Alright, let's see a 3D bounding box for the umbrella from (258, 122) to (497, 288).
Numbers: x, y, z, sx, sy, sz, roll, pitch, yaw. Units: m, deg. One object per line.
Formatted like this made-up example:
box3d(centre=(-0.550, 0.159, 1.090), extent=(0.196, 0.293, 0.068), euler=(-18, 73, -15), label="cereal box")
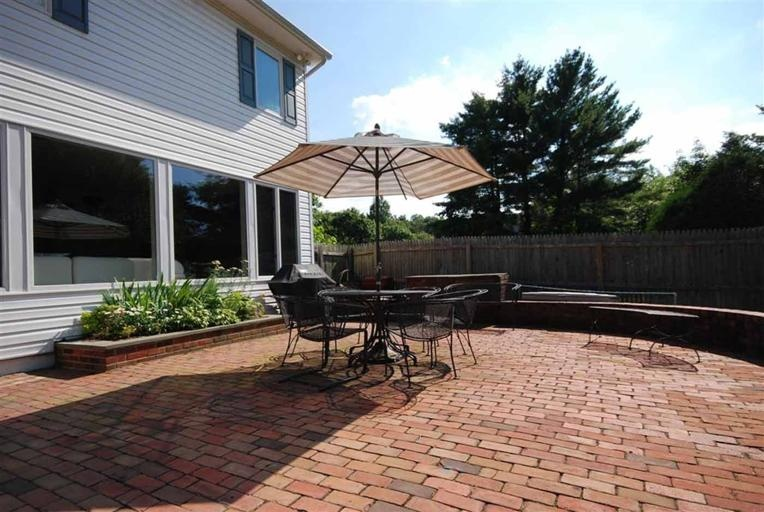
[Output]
box3d(centre=(-0.068, -0.799, 7.183), extent=(2.971, 2.281, 2.227), euler=(3, 15, 14), label="umbrella")
